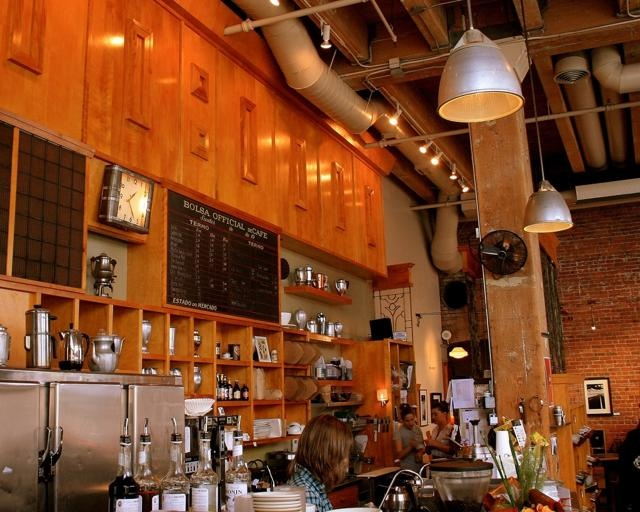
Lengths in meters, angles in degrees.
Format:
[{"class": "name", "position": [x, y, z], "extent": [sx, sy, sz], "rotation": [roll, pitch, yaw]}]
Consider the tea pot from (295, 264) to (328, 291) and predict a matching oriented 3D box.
[{"class": "tea pot", "position": [-0.072, 0.268, 7.097], "extent": [0.186, 0.215, 0.477], "rotation": [-11, -21, 39]}]

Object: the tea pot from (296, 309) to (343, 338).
[{"class": "tea pot", "position": [-0.020, 0.850, 7.288], "extent": [0.227, 0.397, 0.970], "rotation": [-7, -13, 36]}]

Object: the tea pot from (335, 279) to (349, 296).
[{"class": "tea pot", "position": [0.284, 0.430, 7.910], "extent": [0.201, 0.226, 0.195], "rotation": [1, -11, 0]}]

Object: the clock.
[{"class": "clock", "position": [-1.429, -0.419, 4.201], "extent": [0.143, 0.447, 0.428], "rotation": [-2, -13, 21]}]

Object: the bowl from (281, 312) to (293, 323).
[{"class": "bowl", "position": [-0.372, 0.700, 6.434], "extent": [0.139, 0.109, 0.142], "rotation": [-1, -8, 0]}]

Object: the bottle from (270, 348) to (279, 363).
[{"class": "bottle", "position": [-0.466, 1.026, 5.939], "extent": [0.049, 0.141, 0.049], "rotation": [1, -10, 0]}]

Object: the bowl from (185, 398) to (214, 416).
[{"class": "bowl", "position": [-0.868, 1.075, 4.114], "extent": [0.183, 0.122, 0.200], "rotation": [-3, -16, -1]}]

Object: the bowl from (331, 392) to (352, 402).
[{"class": "bowl", "position": [0.260, 1.858, 7.605], "extent": [0.188, 0.077, 0.189], "rotation": [0, -9, 0]}]

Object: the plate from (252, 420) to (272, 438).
[{"class": "plate", "position": [-0.559, 1.669, 5.584], "extent": [0.173, 0.116, 0.173], "rotation": [3, -8, -29]}]

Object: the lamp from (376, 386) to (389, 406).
[{"class": "lamp", "position": [0.872, 1.933, 7.969], "extent": [0.202, 0.278, 0.207], "rotation": [-2, -7, 11]}]

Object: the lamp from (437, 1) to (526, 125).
[{"class": "lamp", "position": [0.828, -1.129, 3.170], "extent": [0.380, 0.745, 0.424], "rotation": [12, -21, -43]}]
